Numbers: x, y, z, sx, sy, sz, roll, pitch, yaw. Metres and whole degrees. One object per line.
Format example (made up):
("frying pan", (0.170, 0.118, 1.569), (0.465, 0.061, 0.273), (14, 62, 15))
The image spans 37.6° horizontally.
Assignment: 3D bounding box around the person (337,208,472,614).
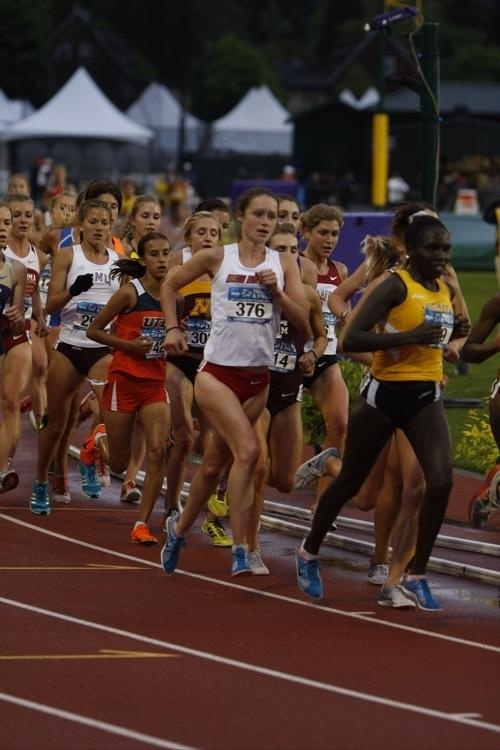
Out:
("person", (0.716, 0.126, 3.416), (0.554, 2.014, 0.679), (1, -5, 15))
